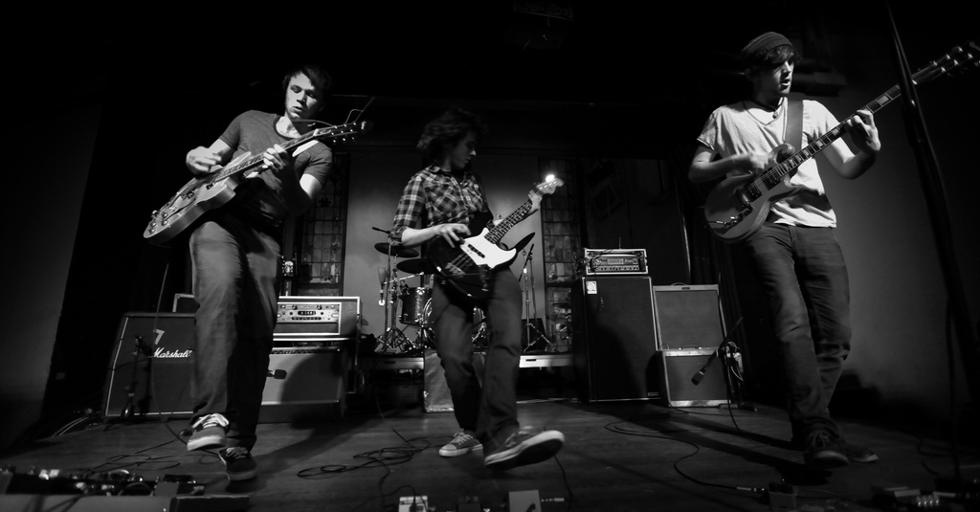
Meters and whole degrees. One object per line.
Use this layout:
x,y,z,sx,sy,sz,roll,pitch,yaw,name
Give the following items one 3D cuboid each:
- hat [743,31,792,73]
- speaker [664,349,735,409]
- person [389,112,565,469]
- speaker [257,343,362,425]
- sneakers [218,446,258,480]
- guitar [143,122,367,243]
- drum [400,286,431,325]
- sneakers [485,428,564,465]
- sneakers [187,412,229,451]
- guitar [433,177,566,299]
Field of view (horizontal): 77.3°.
2.406,-1.738,5.310,0.402,0.281,0.424,-1,2,18,hat
2.262,1.360,6.647,0.737,0.571,0.259,0,-6,1,speaker
-0.124,0.223,5.195,1.216,2.968,0.748,-10,-17,29,person
-1.953,1.385,6.637,0.907,0.720,0.836,1,-18,-7,speaker
-2.064,1.653,5.014,0.249,0.196,0.639,0,-3,-31,sneakers
-2.021,-0.631,5.102,1.646,1.025,0.397,-4,-15,10,guitar
-1.074,0.641,8.084,0.607,0.471,0.532,0,-6,-15,drum
0.270,1.483,4.854,0.710,0.224,0.258,-11,25,5,sneakers
-2.174,1.344,4.709,0.268,0.273,0.136,3,-15,-17,sneakers
0.106,-0.160,5.376,0.574,1.289,0.161,43,-16,18,guitar
